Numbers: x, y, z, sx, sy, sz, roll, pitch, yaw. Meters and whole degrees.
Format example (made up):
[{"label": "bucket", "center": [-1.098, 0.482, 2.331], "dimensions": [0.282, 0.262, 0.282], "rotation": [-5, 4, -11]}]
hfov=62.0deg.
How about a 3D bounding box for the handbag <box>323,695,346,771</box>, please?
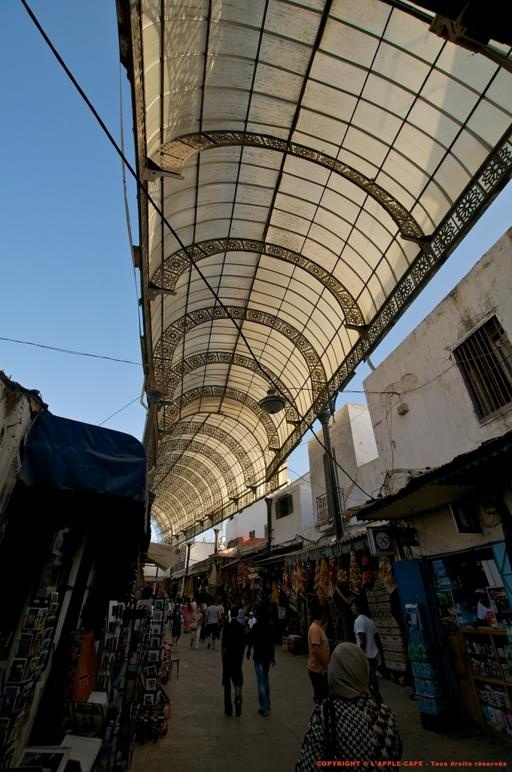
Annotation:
[{"label": "handbag", "center": [0.320, 1.485, 1.846], "dimensions": [0.069, 0.180, 0.154], "rotation": [-7, -25, 6]}]
